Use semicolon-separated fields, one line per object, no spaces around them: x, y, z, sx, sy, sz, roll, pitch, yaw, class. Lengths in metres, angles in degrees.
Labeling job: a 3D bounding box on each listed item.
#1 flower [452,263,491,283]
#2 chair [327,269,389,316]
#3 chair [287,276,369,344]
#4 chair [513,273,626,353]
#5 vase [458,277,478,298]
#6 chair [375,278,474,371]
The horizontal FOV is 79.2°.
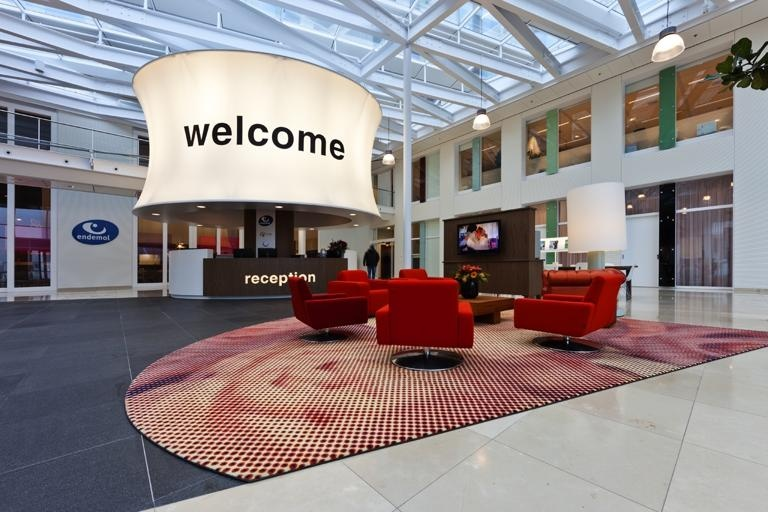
1.758;0.352;9.461;0.562;0.370;0.581;1;-7;0;flower
-0.416;0.751;9.875;0.904;0.896;1.324;1;1;31;chair
-1.007;0.937;8.380;1.207;1.120;1.119;0;0;-29;chair
3.148;0.895;7.914;1.618;1.295;1.654;0;2;24;chair
1.664;0.615;9.135;0.348;0.358;0.368;-2;-9;19;vase
0.652;0.962;7.447;1.468;1.371;1.317;0;0;6;chair
